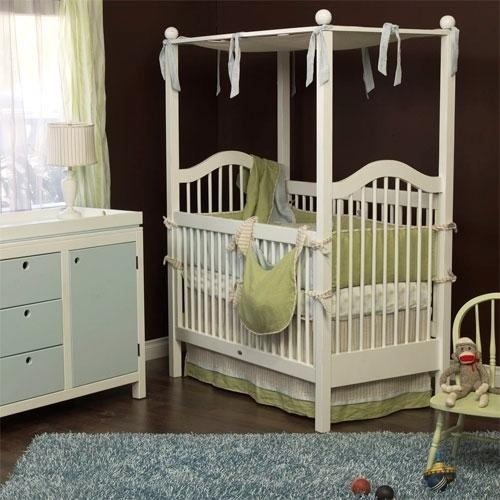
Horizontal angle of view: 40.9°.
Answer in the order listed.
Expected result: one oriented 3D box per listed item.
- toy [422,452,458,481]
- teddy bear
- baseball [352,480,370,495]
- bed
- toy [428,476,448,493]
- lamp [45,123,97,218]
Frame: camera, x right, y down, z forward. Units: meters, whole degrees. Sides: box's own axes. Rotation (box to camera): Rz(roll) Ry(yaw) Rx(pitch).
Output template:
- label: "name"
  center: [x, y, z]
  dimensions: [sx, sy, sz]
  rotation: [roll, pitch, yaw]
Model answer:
- label: "toy"
  center: [0.687, 0.798, 2.443]
  dimensions: [0.098, 0.136, 0.114]
  rotation: [0, 0, -8]
- label: "teddy bear"
  center: [0.826, 0.470, 2.589]
  dimensions: [0.169, 0.249, 0.269]
  rotation: [-7, 1, 28]
- label: "baseball"
  center: [0.390, 0.814, 2.326]
  dimensions: [0.043, 0.033, 0.050]
  rotation: [0, -7, -15]
- label: "bed"
  center: [0.305, -0.225, 3.711]
  dimensions: [1.603, 2.010, 1.119]
  rotation: [3, 5, 39]
- label: "toy"
  center: [0.663, 0.826, 2.367]
  dimensions: [0.048, 0.041, 0.060]
  rotation: [5, 13, 36]
- label: "lamp"
  center: [-0.888, -0.405, 3.421]
  dimensions: [0.223, 0.477, 0.352]
  rotation: [0, 4, 9]
